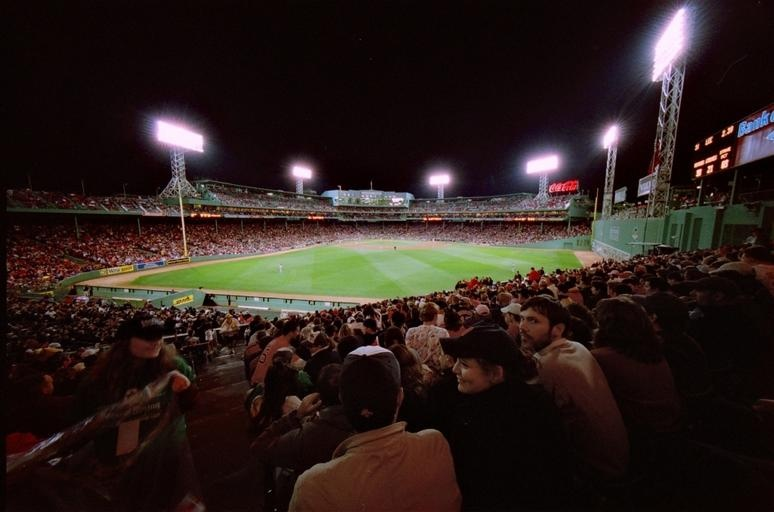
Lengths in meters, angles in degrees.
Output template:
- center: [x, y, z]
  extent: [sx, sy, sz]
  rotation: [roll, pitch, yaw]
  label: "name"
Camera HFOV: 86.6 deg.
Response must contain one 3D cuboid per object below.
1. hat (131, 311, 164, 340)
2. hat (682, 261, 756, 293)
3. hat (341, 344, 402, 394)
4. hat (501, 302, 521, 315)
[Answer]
- center: [-3.552, 1.058, 6.279]
  extent: [0.461, 0.428, 0.340]
  rotation: [-1, 4, -11]
  label: "hat"
- center: [5.829, 0.518, 7.318]
  extent: [1.161, 0.410, 0.771]
  rotation: [-7, -1, 45]
  label: "hat"
- center: [-0.157, 1.429, 5.492]
  extent: [0.673, 0.341, 0.469]
  rotation: [16, 31, 40]
  label: "hat"
- center: [2.368, 1.046, 7.928]
  extent: [0.369, 0.189, 0.240]
  rotation: [13, 2, 31]
  label: "hat"
